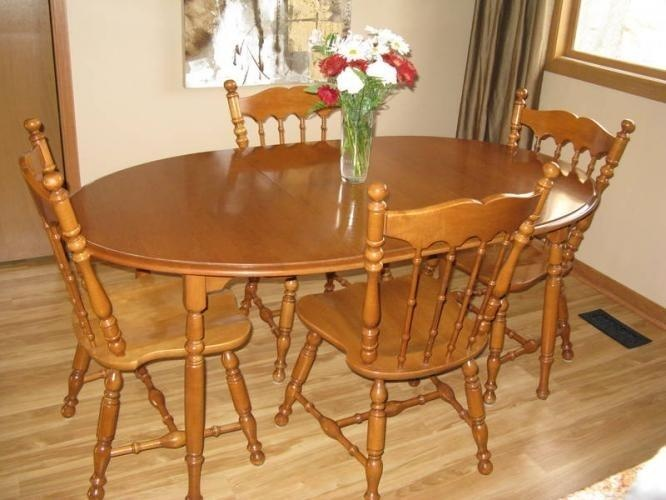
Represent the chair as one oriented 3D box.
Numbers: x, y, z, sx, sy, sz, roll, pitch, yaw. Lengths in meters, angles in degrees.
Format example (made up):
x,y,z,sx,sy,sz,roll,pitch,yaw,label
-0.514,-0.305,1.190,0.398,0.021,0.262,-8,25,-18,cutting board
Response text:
x,y,z,sx,sy,sz,roll,pitch,yaw,label
-0.135,0.054,2.309,2.026,1.248,1.227,-11,36,-22,chair
